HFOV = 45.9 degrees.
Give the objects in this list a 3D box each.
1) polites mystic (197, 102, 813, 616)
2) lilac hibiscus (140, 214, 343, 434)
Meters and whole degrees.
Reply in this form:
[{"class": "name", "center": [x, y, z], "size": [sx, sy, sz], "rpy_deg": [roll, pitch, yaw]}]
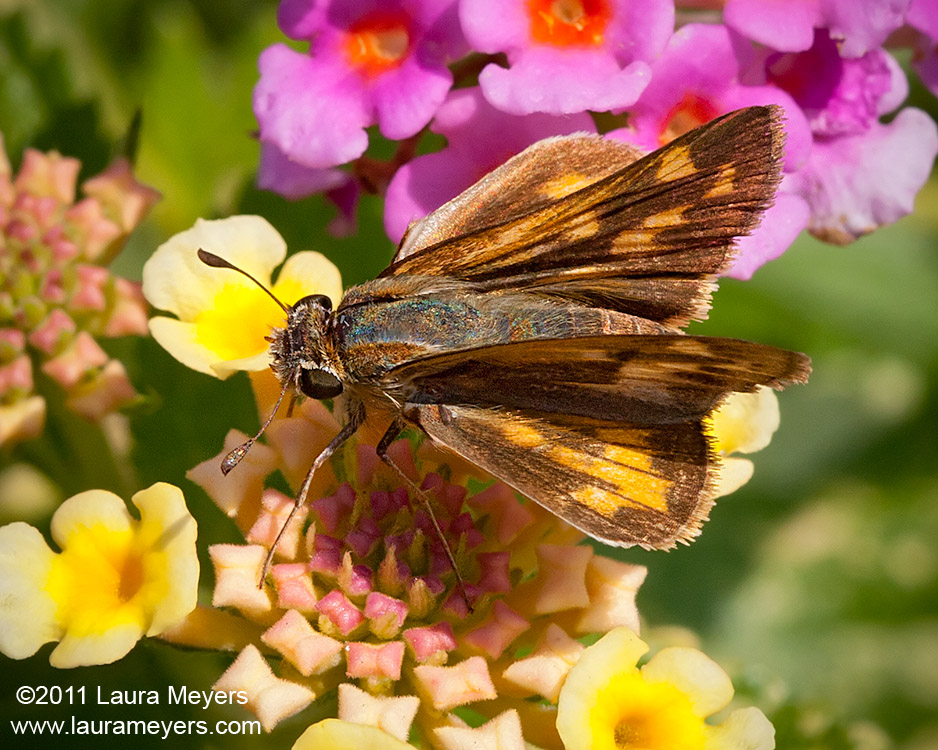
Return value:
[{"class": "polites mystic", "center": [0.076, -0.040, 1.231], "size": [0.490, 0.317, 0.615], "rpy_deg": [9, -55, 12]}, {"class": "lilac hibiscus", "center": [-0.298, -0.098, 1.344], "size": [0.180, 0.216, 0.278], "rpy_deg": [16, -64, 28]}]
